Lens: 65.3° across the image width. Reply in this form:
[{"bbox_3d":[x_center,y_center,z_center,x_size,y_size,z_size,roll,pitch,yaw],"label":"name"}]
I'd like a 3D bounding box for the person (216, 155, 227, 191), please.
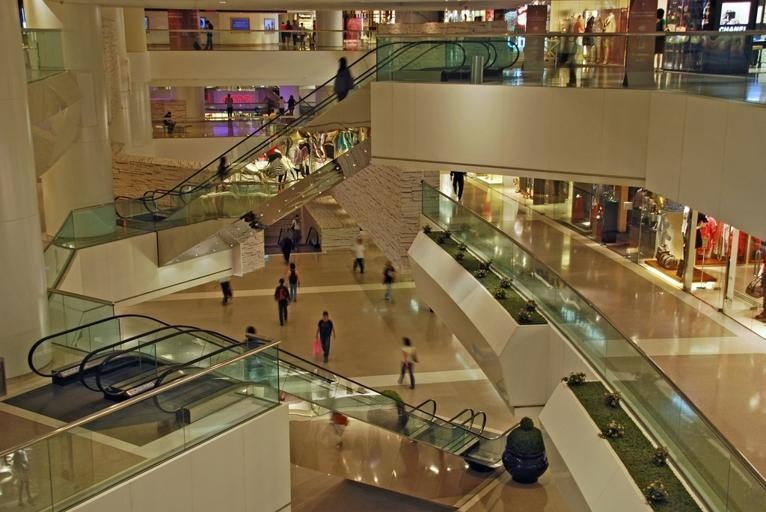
[{"bbox_3d":[-4.163,-2.126,15.522,0.334,0.634,0.909,-5,19,-15],"label":"person"}]

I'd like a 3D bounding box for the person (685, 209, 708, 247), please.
[{"bbox_3d":[7.461,-0.650,14.330,0.503,0.930,0.433,6,19,18],"label":"person"}]

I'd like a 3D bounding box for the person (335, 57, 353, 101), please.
[{"bbox_3d":[-0.992,-4.216,14.673,0.380,0.804,0.442,-13,22,-34],"label":"person"}]

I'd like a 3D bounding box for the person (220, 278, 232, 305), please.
[{"bbox_3d":[-5.139,1.080,19.612,0.356,0.967,0.836,-5,19,-14],"label":"person"}]

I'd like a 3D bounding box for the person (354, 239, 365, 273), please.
[{"bbox_3d":[-0.917,-0.020,22.449,0.366,1.276,0.700,-1,18,-1],"label":"person"}]

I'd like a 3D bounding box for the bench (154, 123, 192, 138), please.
[{"bbox_3d":[-8.884,-5.335,25.432,1.787,0.452,1.552,-5,18,-14],"label":"bench"}]

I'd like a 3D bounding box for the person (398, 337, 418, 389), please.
[{"bbox_3d":[0.608,2.546,15.044,0.420,1.378,0.854,0,18,1],"label":"person"}]

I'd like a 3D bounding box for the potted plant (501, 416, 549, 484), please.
[{"bbox_3d":[2.754,3.812,11.643,0.817,1.259,0.406,3,19,11],"label":"potted plant"}]
